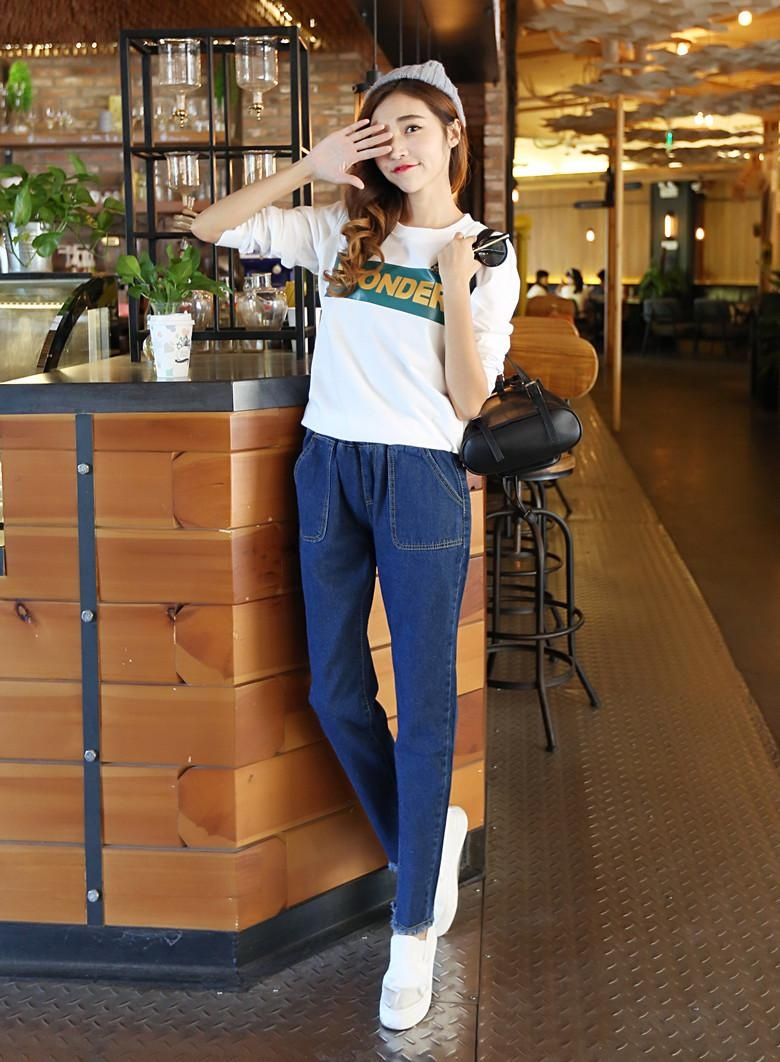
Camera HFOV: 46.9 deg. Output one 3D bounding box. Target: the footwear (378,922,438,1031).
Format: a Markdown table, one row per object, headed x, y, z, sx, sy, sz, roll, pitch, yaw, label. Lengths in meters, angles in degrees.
| x | y | z | sx | sy | sz | roll | pitch | yaw | label |
| --- | --- | --- | --- | --- | --- | --- | --- | --- | --- |
| 0.034 | 0.731 | 1.491 | 0.061 | 0.067 | 0.175 | 2 | 18 | 11 | footwear |

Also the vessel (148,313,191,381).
| x | y | z | sx | sy | sz | roll | pitch | yaw | label |
| --- | --- | --- | --- | --- | --- | --- | --- | --- | --- |
| -0.378 | -0.319 | 1.556 | 0.070 | 0.127 | 0.206 | -2 | 9 | -14 | vessel |

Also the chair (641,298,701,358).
| x | y | z | sx | sy | sz | roll | pitch | yaw | label |
| --- | --- | --- | --- | --- | --- | --- | --- | --- | --- |
| 4.409 | -3.254 | 14.413 | 0.939 | 0.956 | 0.803 | 4 | 16 | 23 | chair |
